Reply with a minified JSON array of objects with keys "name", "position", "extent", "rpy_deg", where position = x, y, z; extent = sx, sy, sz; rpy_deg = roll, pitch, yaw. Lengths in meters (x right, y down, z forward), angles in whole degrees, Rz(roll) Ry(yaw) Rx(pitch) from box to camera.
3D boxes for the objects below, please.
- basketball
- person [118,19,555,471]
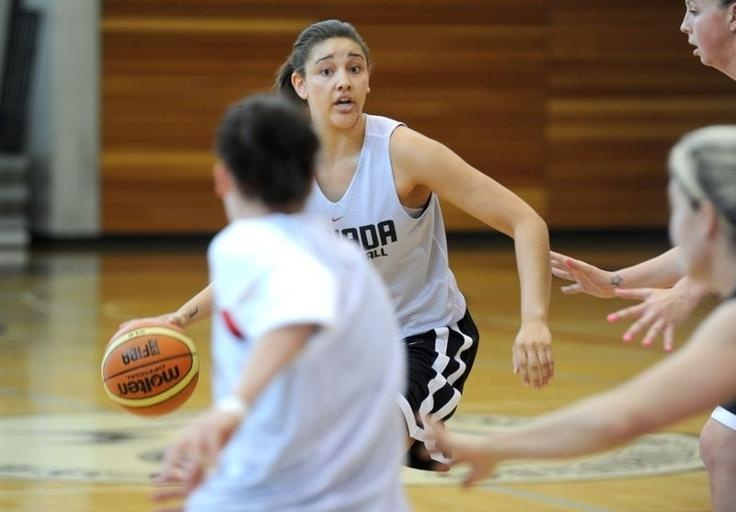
[{"name":"basketball","position":[-0.700,0.404,3.060],"extent":[0.353,0.277,0.274],"rpy_deg":[-1,43,9]},{"name":"person","position":[0.002,0.151,3.255],"extent":[1.525,1.949,0.931],"rpy_deg":[-7,6,33]}]
